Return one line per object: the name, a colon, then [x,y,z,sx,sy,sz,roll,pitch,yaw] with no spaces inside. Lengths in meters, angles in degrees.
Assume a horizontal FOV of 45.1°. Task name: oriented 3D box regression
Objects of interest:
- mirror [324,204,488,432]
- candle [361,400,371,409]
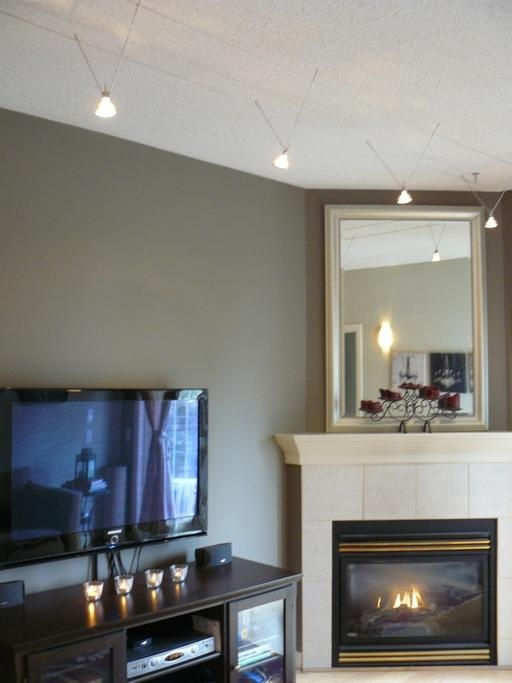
mirror: [0.800,-0.088,3.449,1.237,1.732,0.075,0,-3,-10]
candle: [0.594,0.344,3.359,0.045,0.045,0.042,0,0,43]
